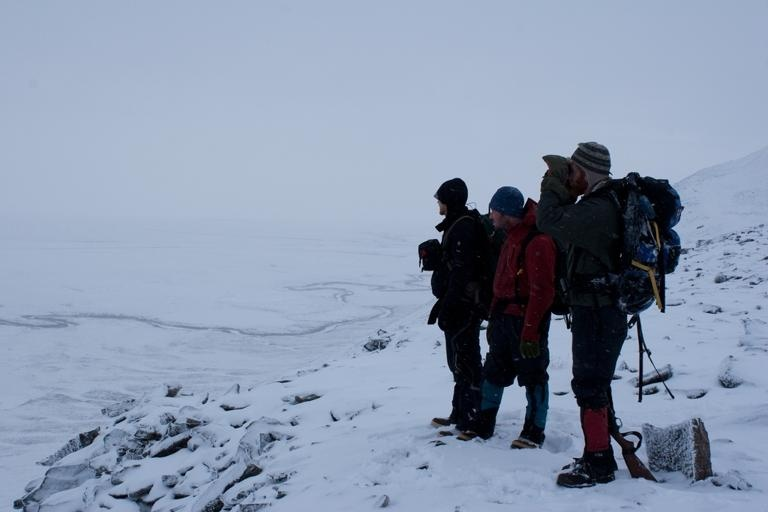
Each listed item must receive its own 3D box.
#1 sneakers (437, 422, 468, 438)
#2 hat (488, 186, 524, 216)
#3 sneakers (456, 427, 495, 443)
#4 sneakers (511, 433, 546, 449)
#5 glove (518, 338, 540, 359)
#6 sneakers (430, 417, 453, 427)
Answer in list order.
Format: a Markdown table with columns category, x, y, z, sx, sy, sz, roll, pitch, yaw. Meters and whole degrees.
| category | x | y | z | sx | sy | sz | roll | pitch | yaw |
| --- | --- | --- | --- | --- | --- | --- | --- | --- | --- |
| sneakers | 1.019 | 2.688 | 10.031 | 0.185 | 0.195 | 0.528 | 13 | -7 | -42 |
| hat | 1.809 | -0.786 | 9.497 | 0.491 | 0.441 | 0.234 | 0 | 7 | 7 |
| sneakers | 1.361 | 2.699 | 9.800 | 0.582 | 0.171 | 0.192 | 7 | -6 | -4 |
| sneakers | 2.130 | 2.750 | 9.605 | 0.470 | 0.183 | 0.194 | 20 | -26 | -34 |
| glove | 2.072 | 1.326 | 9.190 | 0.303 | 0.248 | 0.209 | 2 | -2 | 14 |
| sneakers | 0.920 | 2.642 | 10.314 | 0.316 | 0.112 | 0.138 | 7 | -2 | 24 |
